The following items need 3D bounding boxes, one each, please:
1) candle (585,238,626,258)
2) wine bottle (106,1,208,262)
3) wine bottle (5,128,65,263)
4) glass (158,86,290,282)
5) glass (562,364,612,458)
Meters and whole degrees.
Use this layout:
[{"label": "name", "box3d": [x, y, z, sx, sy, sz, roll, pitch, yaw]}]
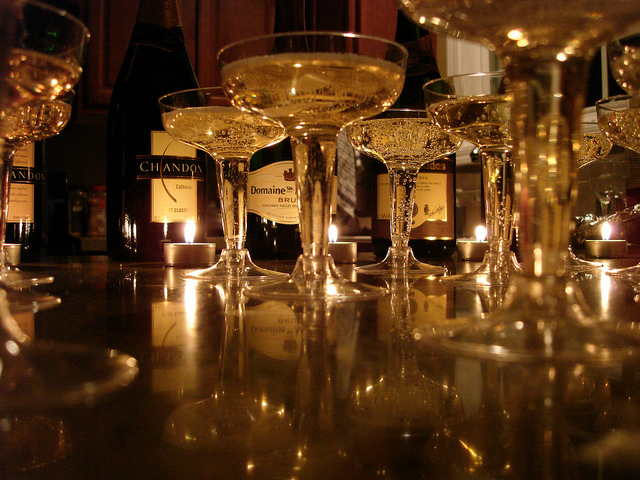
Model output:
[{"label": "candle", "box3d": [0.590, 0.016, 1.218, 0.051, 0.022, 0.050, 1, 1, -3]}, {"label": "wine bottle", "box3d": [-0.299, -0.181, 1.104, 0.154, 0.587, 0.152, 0, 4, 0]}, {"label": "wine bottle", "box3d": [-0.526, -0.071, 1.079, 0.101, 0.315, 0.118, 0, 4, -21]}, {"label": "glass", "box3d": [-0.126, -0.072, 0.857, 0.186, 0.240, 0.193, -1, 4, -12]}, {"label": "glass", "box3d": [0.136, 0.087, 0.281, 0.016, 0.065, 0.016, 3, 10, 38]}]
